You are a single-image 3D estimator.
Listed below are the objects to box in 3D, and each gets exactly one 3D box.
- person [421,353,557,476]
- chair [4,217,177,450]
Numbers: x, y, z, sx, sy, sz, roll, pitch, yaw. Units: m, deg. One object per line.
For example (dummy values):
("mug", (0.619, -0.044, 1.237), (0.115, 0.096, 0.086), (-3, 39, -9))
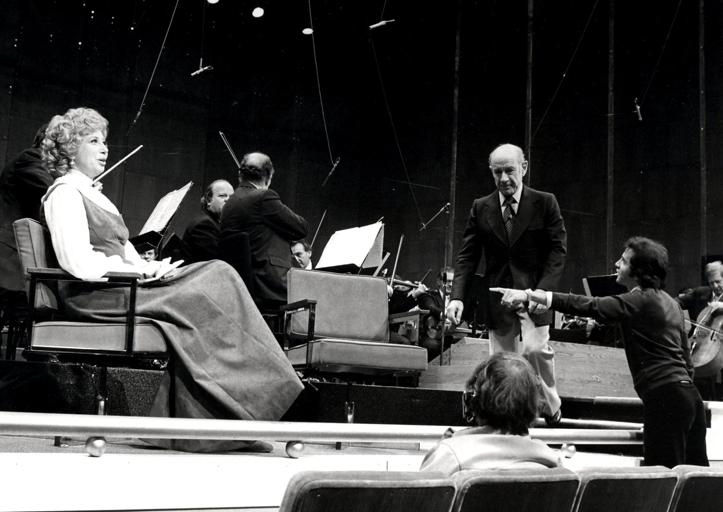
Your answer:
("person", (0.705, 0.881, 6.164), (0.884, 0.659, 0.486), (8, 3, -33))
("chair", (-1.667, 0.411, 7.289), (1.150, 1.154, 0.959), (6, 1, -14))
